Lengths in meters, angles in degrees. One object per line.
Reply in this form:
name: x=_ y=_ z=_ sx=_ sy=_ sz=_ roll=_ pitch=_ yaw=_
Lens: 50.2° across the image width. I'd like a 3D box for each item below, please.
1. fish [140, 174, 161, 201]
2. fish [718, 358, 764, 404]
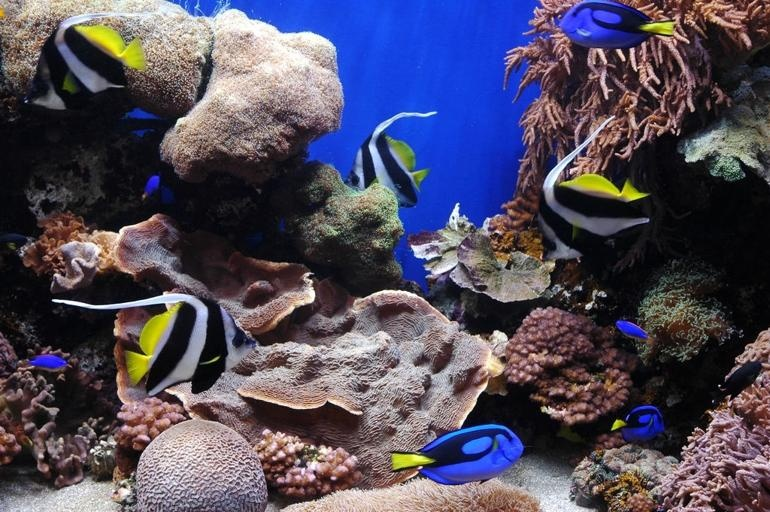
fish: x=-2.272 y=-0.662 z=8.034 sx=0.176 sy=0.239 sz=0.085 roll=-1 pitch=36 yaw=-18
fish: x=3.056 y=1.090 z=7.081 sx=0.088 sy=0.357 sz=0.235 roll=37 pitch=12 yaw=-45
